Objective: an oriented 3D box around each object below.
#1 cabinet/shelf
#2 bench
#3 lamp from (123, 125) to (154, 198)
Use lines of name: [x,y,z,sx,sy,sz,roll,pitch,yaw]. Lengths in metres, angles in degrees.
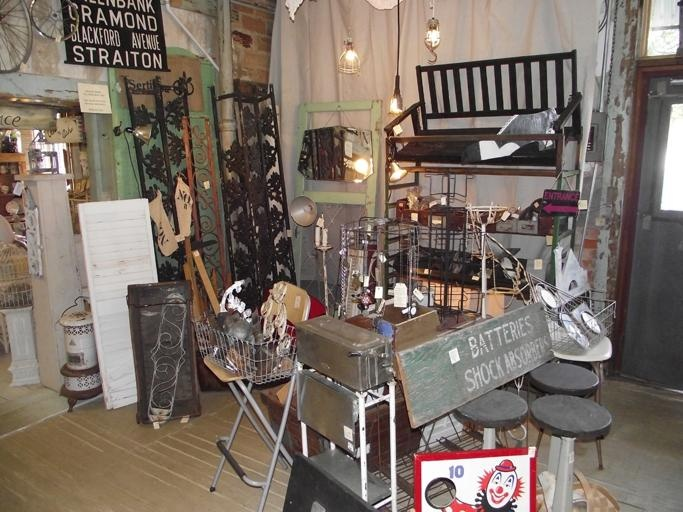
cabinet/shelf: [1.259,-0.282,5.111,1.840,1.037,0.980,5,14,32]
bench: [1.325,-1.290,4.913,1.662,1.087,1.015,5,14,32]
lamp: [-2.096,-0.996,5.531,0.272,0.718,0.194,-7,12,-22]
